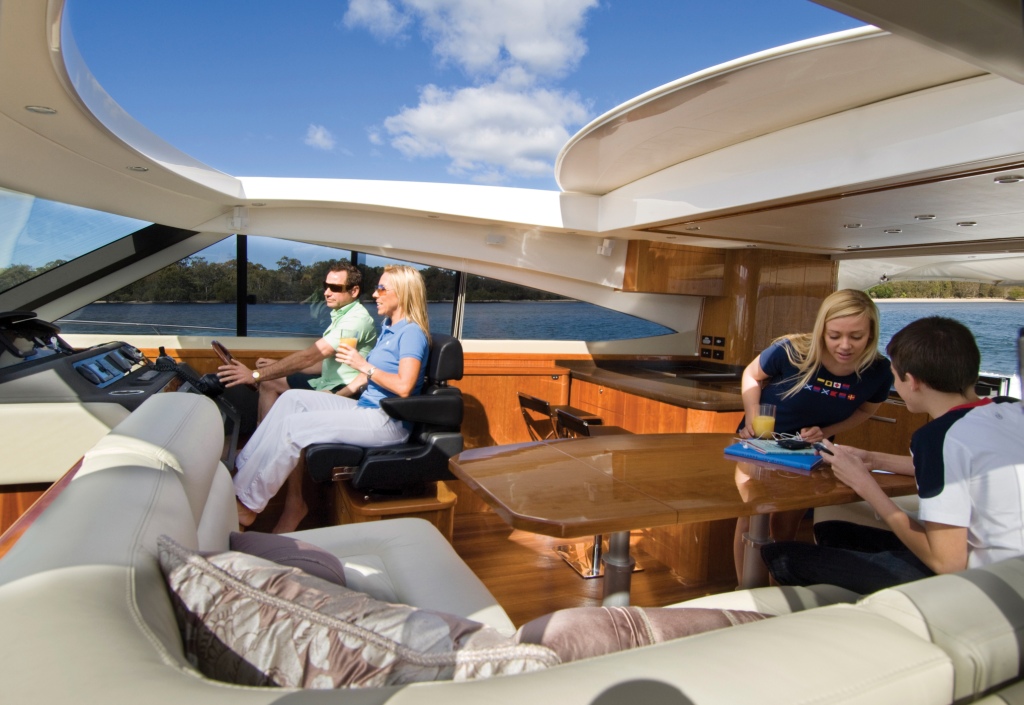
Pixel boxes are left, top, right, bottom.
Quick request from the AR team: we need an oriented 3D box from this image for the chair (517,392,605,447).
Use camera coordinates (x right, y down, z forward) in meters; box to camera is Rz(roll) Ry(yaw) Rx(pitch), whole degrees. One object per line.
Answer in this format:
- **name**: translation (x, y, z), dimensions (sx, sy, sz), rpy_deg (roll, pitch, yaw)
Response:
- **chair**: translation (0.303, 0.505, 4.125), dimensions (0.516, 0.515, 0.433), rpy_deg (-3, 7, -21)

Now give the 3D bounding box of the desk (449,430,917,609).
- **desk**: translation (0.688, 0.683, 2.385), dimensions (1.404, 0.529, 0.786), rpy_deg (0, 2, -20)

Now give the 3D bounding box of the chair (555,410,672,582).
- **chair**: translation (0.422, 0.844, 3.711), dimensions (0.785, 1.093, 0.904), rpy_deg (0, 12, -7)

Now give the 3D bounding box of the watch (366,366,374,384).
- **watch**: translation (-0.765, 0.114, 3.271), dimensions (0.032, 0.071, 0.061), rpy_deg (9, -7, -37)

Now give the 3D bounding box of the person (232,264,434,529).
- **person**: translation (-1.050, 0.263, 3.433), dimensions (1.155, 1.446, 0.772), rpy_deg (4, 8, -13)

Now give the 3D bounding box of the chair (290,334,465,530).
- **chair**: translation (-0.763, 0.417, 3.466), dimensions (0.999, 0.807, 0.702), rpy_deg (-4, 7, -13)

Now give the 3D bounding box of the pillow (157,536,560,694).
- **pillow**: translation (-0.323, 0.450, 1.152), dimensions (0.449, 0.113, 0.347), rpy_deg (10, -4, -29)
